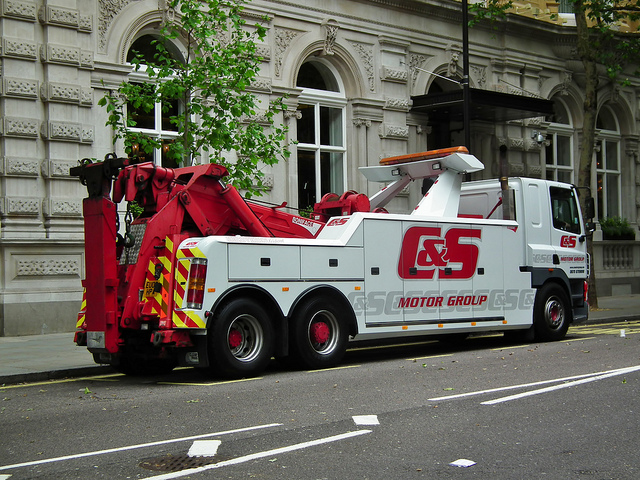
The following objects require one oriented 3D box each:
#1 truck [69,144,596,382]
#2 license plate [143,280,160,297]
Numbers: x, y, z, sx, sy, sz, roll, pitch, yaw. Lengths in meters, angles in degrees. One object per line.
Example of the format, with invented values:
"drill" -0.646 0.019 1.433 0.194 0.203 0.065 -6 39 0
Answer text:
"truck" 0.910 0.566 14.184 11.344 4.637 4.057 2 -13 -35
"license plate" -2.640 0.749 10.344 0.276 0.261 0.077 -1 -1 30
